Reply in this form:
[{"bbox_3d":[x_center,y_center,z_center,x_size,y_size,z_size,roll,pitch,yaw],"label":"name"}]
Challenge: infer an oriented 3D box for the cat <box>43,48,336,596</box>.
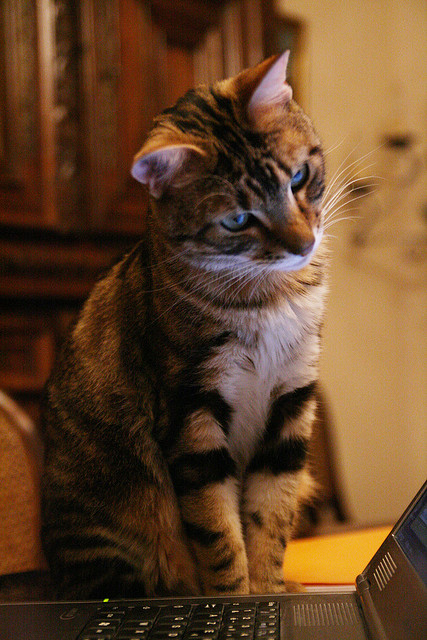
[{"bbox_3d":[0.026,0.085,1.653,0.783,1.447,0.563,-3,-2,28],"label":"cat"}]
